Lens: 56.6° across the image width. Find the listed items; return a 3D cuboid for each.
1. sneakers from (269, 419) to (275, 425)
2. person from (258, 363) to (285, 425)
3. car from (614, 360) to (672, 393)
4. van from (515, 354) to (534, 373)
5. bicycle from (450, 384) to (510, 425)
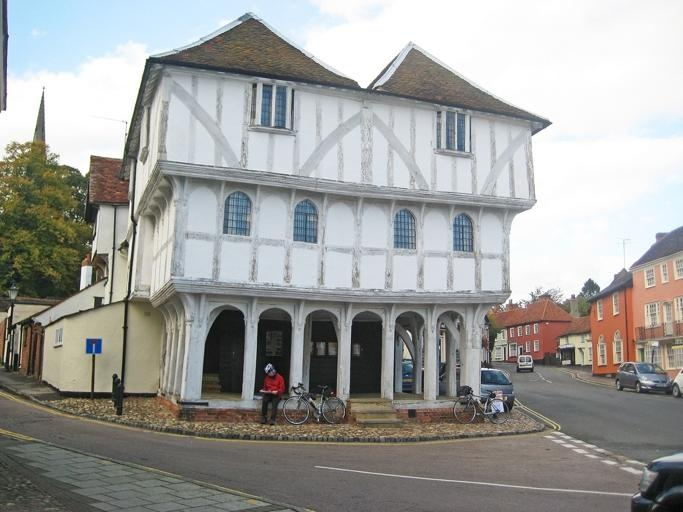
[{"bbox_3d":[-2.444,5.843,22.465,0.180,0.211,0.186,1,-8,-1],"label":"sneakers"},{"bbox_3d":[-2.488,4.981,23.035,0.772,2.069,1.285,1,-10,-4],"label":"person"},{"bbox_3d":[19.265,7.630,40.252,2.228,1.785,3.577,2,-11,-12],"label":"car"},{"bbox_3d":[18.091,10.452,62.681,1.570,1.465,2.975,-1,-2,6],"label":"van"},{"bbox_3d":[5.565,5.888,25.323,2.247,1.409,1.307,2,-10,-7],"label":"bicycle"}]
